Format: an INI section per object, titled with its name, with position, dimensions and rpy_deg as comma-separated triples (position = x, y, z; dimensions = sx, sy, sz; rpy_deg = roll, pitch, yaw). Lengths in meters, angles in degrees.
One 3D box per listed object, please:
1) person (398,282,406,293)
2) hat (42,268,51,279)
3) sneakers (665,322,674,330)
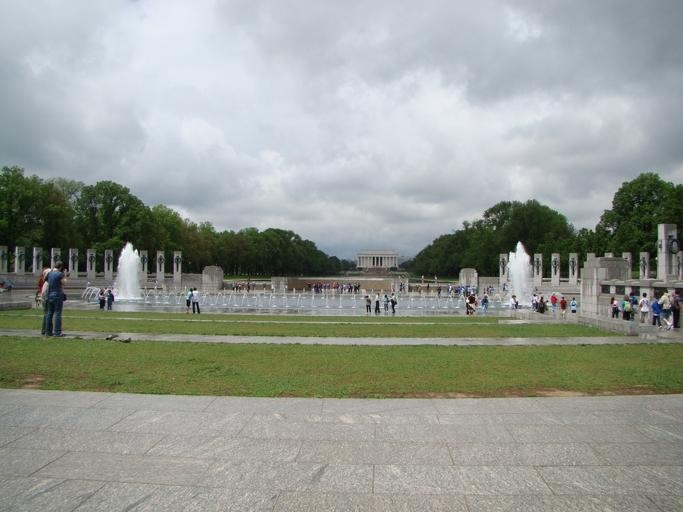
[person]
position = 8.229, 4.152, 73.549
dimensions = 0.984, 1.779, 0.960
rpy_deg = 3, 0, 1
[hat]
position = -8.715, 0.499, 16.585
dimensions = 0.331, 0.165, 0.447
rpy_deg = 0, 5, -38
[sneakers]
position = 14.249, 3.042, 24.273
dimensions = 0.218, 0.281, 0.645
rpy_deg = -16, -20, 34
